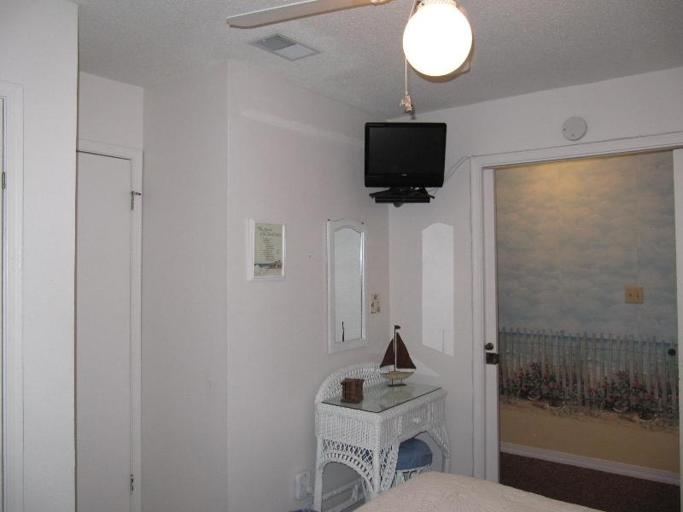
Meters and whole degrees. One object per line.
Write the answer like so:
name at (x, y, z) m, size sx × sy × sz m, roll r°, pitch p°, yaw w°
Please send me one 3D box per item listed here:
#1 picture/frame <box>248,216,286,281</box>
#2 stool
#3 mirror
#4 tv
picture/frame at (-0.492, -0.051, 3.534) m, size 0.085 × 0.481 × 0.411 m, roll 5°, pitch 4°, yaw 44°
stool at (0.423, 1.454, 3.793) m, size 0.352 × 0.325 × 0.324 m, roll -3°, pitch 1°, yaw 36°
mirror at (0.038, 0.207, 4.096) m, size 0.107 × 0.962 × 0.470 m, roll -1°, pitch 1°, yaw 31°
tv at (0.474, -0.755, 3.990) m, size 0.444 × 0.350 × 0.063 m, roll 1°, pitch 15°, yaw 5°
